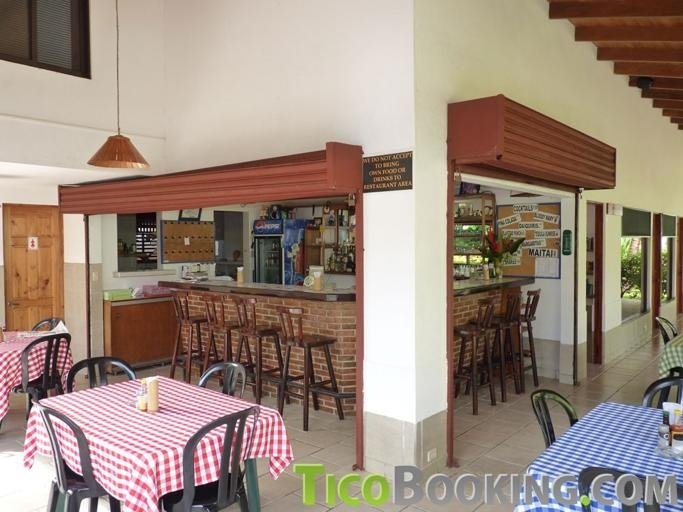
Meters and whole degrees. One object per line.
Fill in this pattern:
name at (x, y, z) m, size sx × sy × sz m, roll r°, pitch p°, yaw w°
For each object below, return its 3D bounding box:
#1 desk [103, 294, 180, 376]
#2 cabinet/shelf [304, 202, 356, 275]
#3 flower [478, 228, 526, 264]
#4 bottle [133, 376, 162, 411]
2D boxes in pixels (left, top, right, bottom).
desk at (-2.974, 1.152, 7.984) m, size 1.163 × 1.179 × 0.443 m, roll -2°, pitch 3°, yaw -45°
cabinet/shelf at (-0.194, -0.292, 10.027) m, size 1.271 × 1.357 × 0.422 m, roll -1°, pitch -2°, yaw 40°
flower at (2.312, -0.073, 7.921) m, size 0.519 × 0.343 × 0.524 m, roll -2°, pitch -10°, yaw 30°
bottle at (-1.603, 1.142, 4.491) m, size 0.221 × 0.329 × 0.133 m, roll 3°, pitch 2°, yaw 14°
